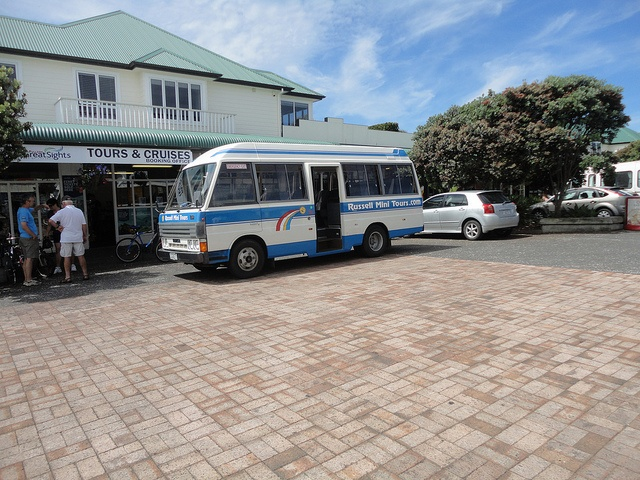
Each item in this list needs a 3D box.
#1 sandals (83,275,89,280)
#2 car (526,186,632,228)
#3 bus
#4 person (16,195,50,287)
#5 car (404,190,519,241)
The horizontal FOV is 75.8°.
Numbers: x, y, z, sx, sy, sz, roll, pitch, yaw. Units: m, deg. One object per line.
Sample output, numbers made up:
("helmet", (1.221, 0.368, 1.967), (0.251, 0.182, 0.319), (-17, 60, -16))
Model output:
("sandals", (-6.244, 0.979, 10.959), (0.075, 0.060, 0.199), (-2, 3, -41))
("car", (13.329, -1.901, 22.560), (2.601, 1.618, 5.166), (-5, 9, -36))
("bus", (-0.539, -1.108, 12.641), (8.431, 2.776, 3.025), (-9, 9, -40))
("person", (-7.584, 0.021, 10.648), (0.519, 2.263, 0.692), (-9, 13, -23))
("car", (5.617, -1.131, 16.748), (2.173, 1.346, 3.812), (-7, 9, -39))
